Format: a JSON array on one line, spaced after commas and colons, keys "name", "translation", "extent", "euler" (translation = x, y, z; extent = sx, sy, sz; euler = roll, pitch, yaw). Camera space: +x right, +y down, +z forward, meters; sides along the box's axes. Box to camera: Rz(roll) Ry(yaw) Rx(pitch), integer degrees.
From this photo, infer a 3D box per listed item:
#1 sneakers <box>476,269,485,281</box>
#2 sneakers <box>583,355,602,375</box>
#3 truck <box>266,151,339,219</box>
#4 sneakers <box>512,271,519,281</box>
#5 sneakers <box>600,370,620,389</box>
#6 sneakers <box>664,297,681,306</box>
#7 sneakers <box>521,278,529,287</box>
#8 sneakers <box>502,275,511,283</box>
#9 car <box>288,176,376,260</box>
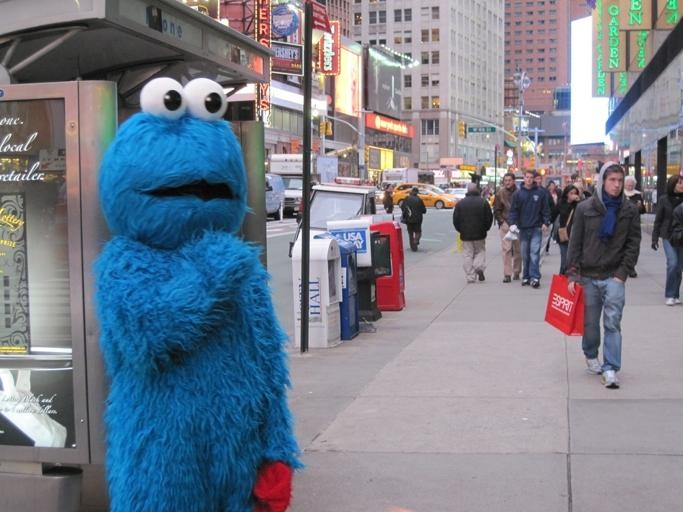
[{"name": "sneakers", "translation": [2.704, 0.376, 15.242], "extent": [0.109, 0.324, 0.130], "euler": [-2, 42, 14]}, {"name": "sneakers", "translation": [2.509, 1.087, 7.889], "extent": [0.122, 0.192, 0.200], "euler": [-4, -2, -15]}, {"name": "truck", "translation": [-2.377, -3.729, 39.193], "extent": [2.455, 2.528, 4.607], "euler": [0, 2, 9]}, {"name": "sneakers", "translation": [3.428, 0.421, 15.453], "extent": [0.075, 0.142, 0.209], "euler": [-4, -10, 8]}, {"name": "sneakers", "translation": [2.506, 1.133, 7.293], "extent": [0.147, 0.155, 0.165], "euler": [0, 5, 18]}, {"name": "sneakers", "translation": [4.870, 0.676, 11.551], "extent": [0.104, 0.128, 0.306], "euler": [-1, -5, 30]}, {"name": "sneakers", "translation": [3.368, 0.499, 14.385], "extent": [0.113, 0.122, 0.285], "euler": [0, -6, 20]}, {"name": "sneakers", "translation": [3.155, 0.455, 15.000], "extent": [0.128, 0.147, 0.351], "euler": [-1, -5, 8]}, {"name": "car", "translation": [0.050, -0.862, 15.355], "extent": [1.154, 1.041, 1.645], "euler": [1, 1, 13]}]
